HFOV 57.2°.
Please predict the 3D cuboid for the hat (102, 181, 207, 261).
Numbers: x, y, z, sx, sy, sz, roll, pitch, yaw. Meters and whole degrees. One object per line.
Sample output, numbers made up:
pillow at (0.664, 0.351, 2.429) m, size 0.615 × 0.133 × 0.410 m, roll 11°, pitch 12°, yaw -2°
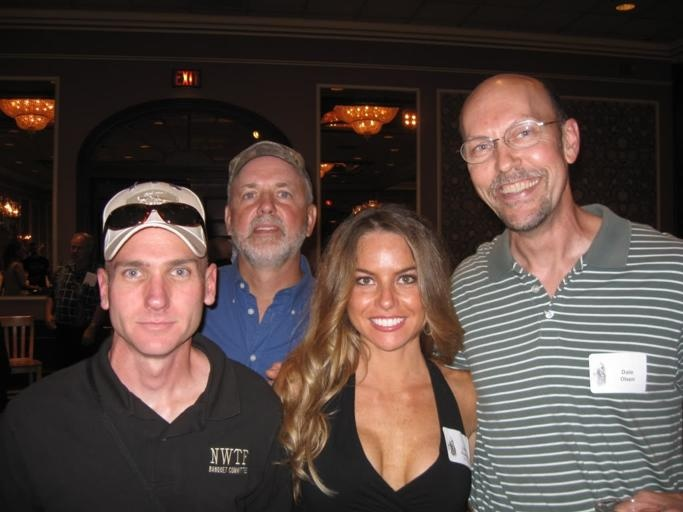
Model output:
hat at (-0.942, -0.169, 3.178) m, size 0.426 × 0.284 × 0.638 m, roll -4°, pitch 26°, yaw -12°
